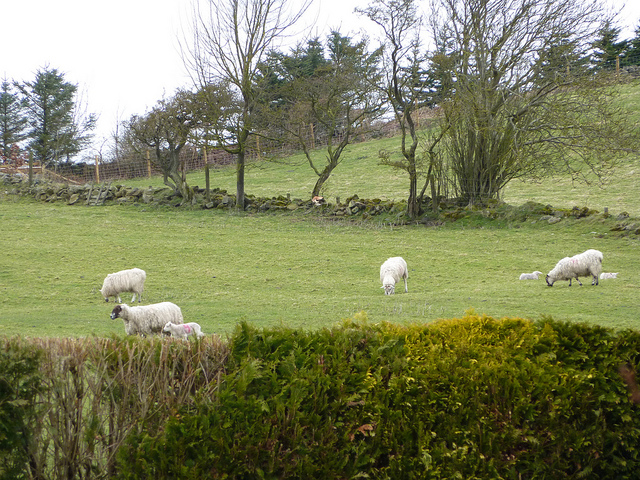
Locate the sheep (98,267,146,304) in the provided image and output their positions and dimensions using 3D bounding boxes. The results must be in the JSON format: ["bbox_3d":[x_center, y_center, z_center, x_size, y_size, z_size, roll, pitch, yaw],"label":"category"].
[{"bbox_3d":[-6.593,1.541,27.805,1.398,1.025,1.095,-4,11,-13],"label":"sheep"}]

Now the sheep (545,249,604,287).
[{"bbox_3d":[8.796,0.987,28.549,1.730,1.182,0.779,1,11,13],"label":"sheep"}]

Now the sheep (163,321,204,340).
[{"bbox_3d":[-3.839,2.474,22.972,1.051,0.341,0.666,-1,11,1],"label":"sheep"}]

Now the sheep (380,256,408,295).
[{"bbox_3d":[2.559,1.407,28.846,0.670,1.137,2.275,0,17,19],"label":"sheep"}]

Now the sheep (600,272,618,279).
[{"bbox_3d":[10.084,1.241,28.868,0.553,0.243,0.220,0,6,-2],"label":"sheep"}]

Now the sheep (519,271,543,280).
[{"bbox_3d":[7.505,1.252,29.607,0.849,0.377,0.256,-7,9,-9],"label":"sheep"}]
